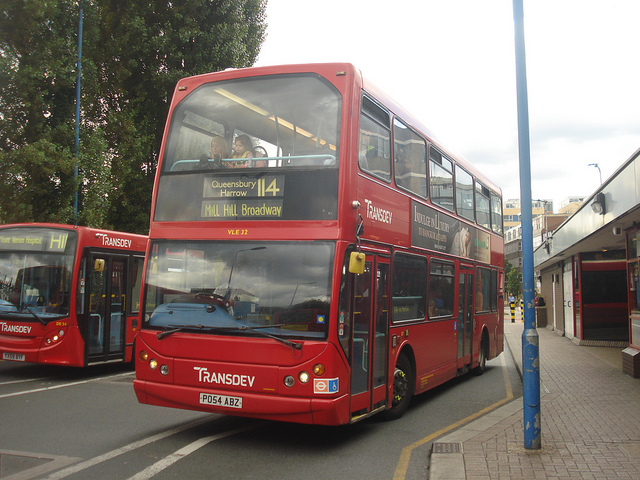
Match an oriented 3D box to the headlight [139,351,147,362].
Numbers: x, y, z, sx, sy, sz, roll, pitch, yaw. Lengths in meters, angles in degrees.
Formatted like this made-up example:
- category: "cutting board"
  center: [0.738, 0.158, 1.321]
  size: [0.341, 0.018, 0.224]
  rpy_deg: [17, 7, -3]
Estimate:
- category: "headlight"
  center: [-2.657, 1.749, 7.862]
  size: [0.112, 0.129, 0.033]
  rpy_deg: [11, -1, 14]
